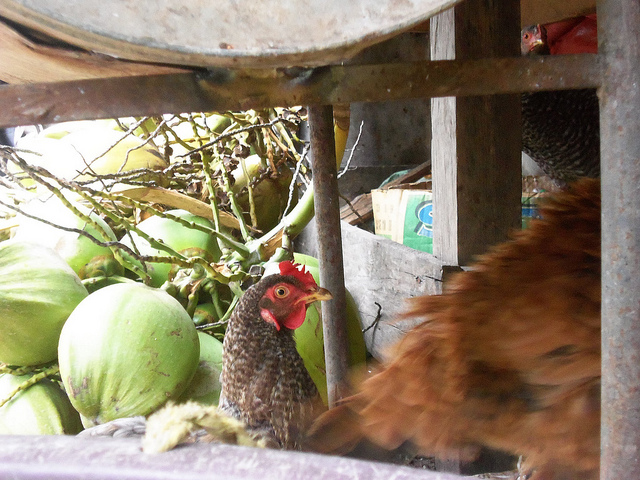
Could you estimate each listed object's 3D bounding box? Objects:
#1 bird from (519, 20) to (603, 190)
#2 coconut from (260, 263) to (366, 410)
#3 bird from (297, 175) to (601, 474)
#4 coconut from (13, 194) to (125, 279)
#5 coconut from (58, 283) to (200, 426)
[{"bbox_3d":[0.597,-0.354,1.992,0.184,0.454,0.778,-4,6,16],"label":"bird"},{"bbox_3d":[0.000,0.264,2.023,0.262,0.359,0.473,1,12,2],"label":"coconut"},{"bbox_3d":[0.206,0.141,1.204,0.445,0.428,0.221,-4,7,18],"label":"bird"},{"bbox_3d":[-0.668,-0.008,2.091,0.198,0.151,0.120,32,40,4],"label":"coconut"},{"bbox_3d":[-0.416,0.250,1.668,0.266,0.241,0.227,13,26,41],"label":"coconut"}]
